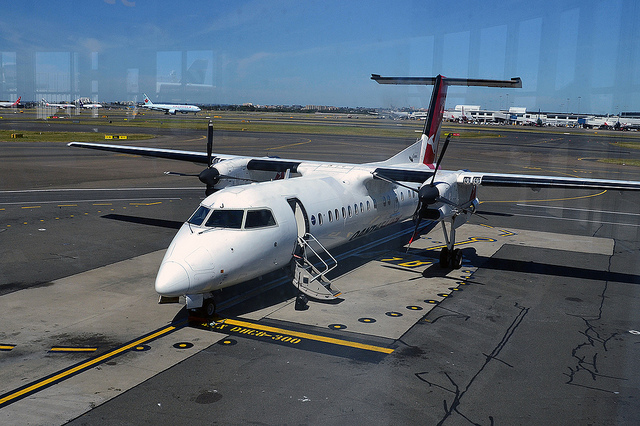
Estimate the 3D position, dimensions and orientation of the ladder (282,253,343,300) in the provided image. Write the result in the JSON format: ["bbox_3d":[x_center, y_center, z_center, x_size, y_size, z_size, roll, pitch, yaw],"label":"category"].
[{"bbox_3d":[-0.290,2.311,16.321,1.835,1.435,0.902,5,14,24],"label":"ladder"}]
